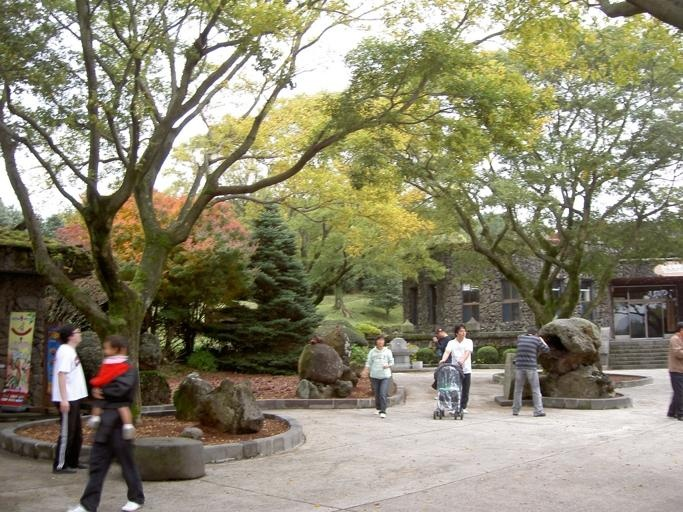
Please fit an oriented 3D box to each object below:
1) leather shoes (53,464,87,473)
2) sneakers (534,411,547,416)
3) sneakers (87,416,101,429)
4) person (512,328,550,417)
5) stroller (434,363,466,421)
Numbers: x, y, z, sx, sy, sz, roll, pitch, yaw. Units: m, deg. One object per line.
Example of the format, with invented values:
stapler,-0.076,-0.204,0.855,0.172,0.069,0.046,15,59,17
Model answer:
leather shoes,-3.798,3.023,7.841,0.406,0.114,0.111,-4,-9,0
sneakers,4.646,3.689,12.977,0.266,0.109,0.213,-2,-9,15
sneakers,-2.729,1.838,6.189,0.107,0.131,0.234,4,-9,-23
person,4.576,2.787,13.470,0.848,2.056,0.785,-6,-12,28
stroller,2.556,3.138,12.930,0.694,1.251,0.526,-7,-12,33
